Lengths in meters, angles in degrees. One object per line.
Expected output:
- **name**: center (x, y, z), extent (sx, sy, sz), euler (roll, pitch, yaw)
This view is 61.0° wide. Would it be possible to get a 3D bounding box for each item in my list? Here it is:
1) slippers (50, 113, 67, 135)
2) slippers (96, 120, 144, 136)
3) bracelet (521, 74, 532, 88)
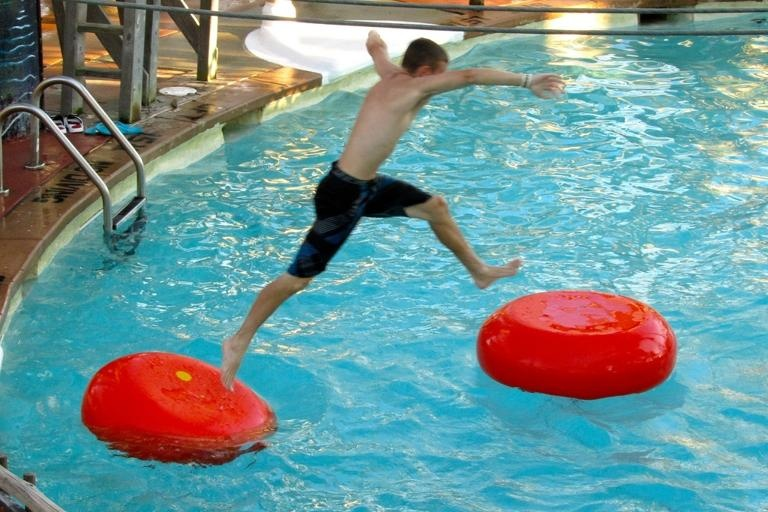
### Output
- **slippers**: center (-3.925, -1.590, 7.892), extent (0.150, 0.186, 0.324), euler (-6, 20, -23)
- **slippers**: center (-3.162, -1.535, 7.860), extent (0.584, 0.076, 0.291), euler (-2, 7, -6)
- **bracelet**: center (0.935, -1.154, 4.279), extent (0.067, 0.084, 0.160), euler (9, 18, 8)
